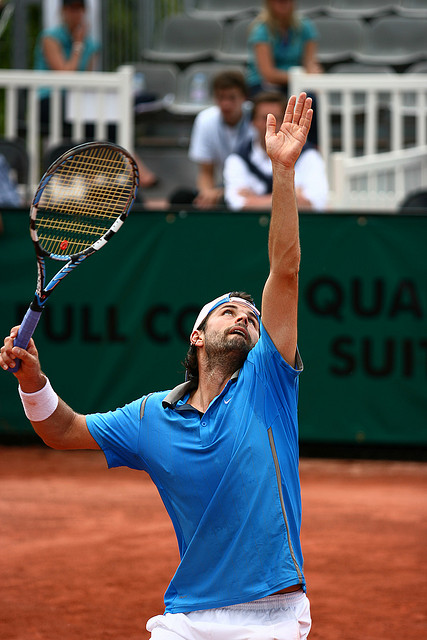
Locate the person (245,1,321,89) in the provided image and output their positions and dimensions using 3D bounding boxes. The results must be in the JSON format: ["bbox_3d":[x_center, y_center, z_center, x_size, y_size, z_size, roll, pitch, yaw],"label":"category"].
[{"bbox_3d":[0.589,-2.337,8.671,0.619,0.765,0.688,1,6,4],"label":"person"}]

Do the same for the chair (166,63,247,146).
[{"bbox_3d":[-0.077,-2.441,12.085,0.818,1.408,0.907,-1,0,7],"label":"chair"}]

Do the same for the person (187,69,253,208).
[{"bbox_3d":[0.121,-1.286,8.031,0.596,1.474,0.744,1,9,1],"label":"person"}]

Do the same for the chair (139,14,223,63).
[{"bbox_3d":[-0.359,-3.746,13.523,1.130,0.757,1.590,-1,10,-6],"label":"chair"}]

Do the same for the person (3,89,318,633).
[{"bbox_3d":[-0.082,0.138,3.419,0.833,1.783,0.586,1,6,8],"label":"person"}]
